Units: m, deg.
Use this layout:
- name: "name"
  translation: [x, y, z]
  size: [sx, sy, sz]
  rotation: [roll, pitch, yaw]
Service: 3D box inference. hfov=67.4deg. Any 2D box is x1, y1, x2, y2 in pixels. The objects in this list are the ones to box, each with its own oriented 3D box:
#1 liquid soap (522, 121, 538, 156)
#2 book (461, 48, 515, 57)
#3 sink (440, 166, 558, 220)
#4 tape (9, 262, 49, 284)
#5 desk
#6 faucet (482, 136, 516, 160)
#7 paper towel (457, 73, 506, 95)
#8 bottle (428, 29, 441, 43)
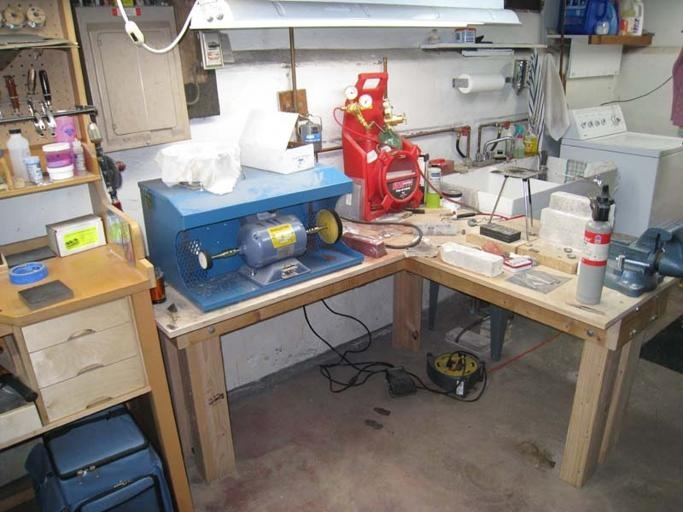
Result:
- name: "liquid soap"
  translation: [1.545, -0.961, 4.181]
  size: [0.125, 0.235, 0.282]
  rotation: [4, 23, 18]
- name: "book"
  translation: [1.043, -1.478, 3.698]
  size: [0.536, 0.062, 0.118]
  rotation: [-16, 25, -29]
- name: "sink"
  translation: [0.996, -0.446, 3.356]
  size: [0.591, 0.181, 0.542]
  rotation: [-23, 36, -37]
- name: "tape"
  translation: [-1.322, 0.069, 2.155]
  size: [0.163, 0.051, 0.132]
  rotation: [17, 30, 42]
- name: "desk"
  translation: [0.307, 0.342, 2.464]
  size: [1.555, 0.885, 1.677]
  rotation: [-26, 38, -36]
- name: "faucet"
  translation: [1.212, -0.838, 3.970]
  size: [0.324, 0.181, 0.097]
  rotation: [-21, 32, -33]
- name: "paper towel"
  translation: [1.009, -1.264, 3.738]
  size: [0.447, 0.153, 0.144]
  rotation: [-19, 26, -34]
- name: "bottle"
  translation: [0.607, -1.464, 3.403]
  size: [0.075, 0.089, 0.105]
  rotation: [0, 22, 9]
